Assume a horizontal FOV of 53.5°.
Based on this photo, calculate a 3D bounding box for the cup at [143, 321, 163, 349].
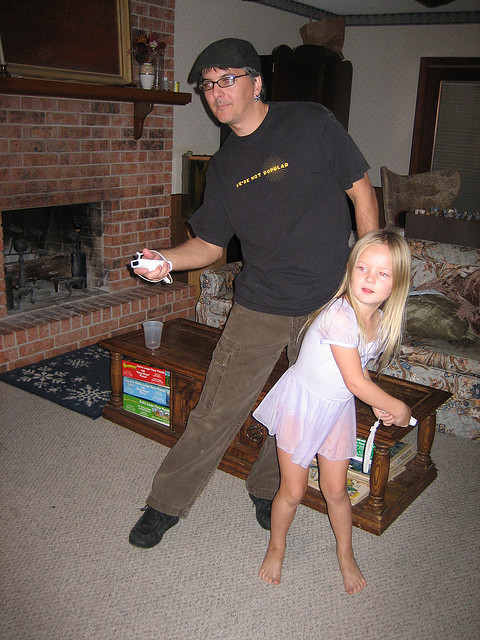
[{"bbox_3d":[-0.367,0.064,2.071,0.102,0.108,0.099,4,11,-1],"label":"cup"}]

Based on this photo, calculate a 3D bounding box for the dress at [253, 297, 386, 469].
[{"bbox_3d":[0.171,0.151,1.187,0.318,0.425,0.218,6,11,17],"label":"dress"}]

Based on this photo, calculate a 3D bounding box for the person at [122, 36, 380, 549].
[{"bbox_3d":[-0.006,-0.014,1.351,0.737,1.442,0.440,-2,10,6],"label":"person"}]

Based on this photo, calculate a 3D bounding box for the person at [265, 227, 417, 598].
[{"bbox_3d":[0.255,0.259,1.193,0.328,0.953,0.264,0,10,-12],"label":"person"}]

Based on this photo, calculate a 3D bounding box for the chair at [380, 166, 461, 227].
[{"bbox_3d":[1.743,-1.230,4.780,0.799,0.543,0.383,-1,11,-17],"label":"chair"}]
